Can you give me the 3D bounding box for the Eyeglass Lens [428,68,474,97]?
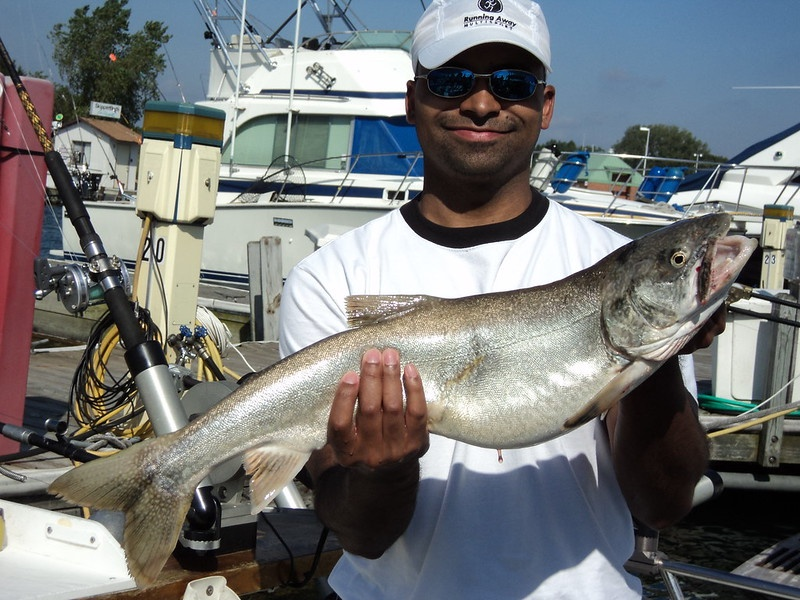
[{"bbox_3d":[0.169,-0.725,2.139,0.109,0.056,0.121,1,0,2],"label":"Eyeglass Lens"}]
